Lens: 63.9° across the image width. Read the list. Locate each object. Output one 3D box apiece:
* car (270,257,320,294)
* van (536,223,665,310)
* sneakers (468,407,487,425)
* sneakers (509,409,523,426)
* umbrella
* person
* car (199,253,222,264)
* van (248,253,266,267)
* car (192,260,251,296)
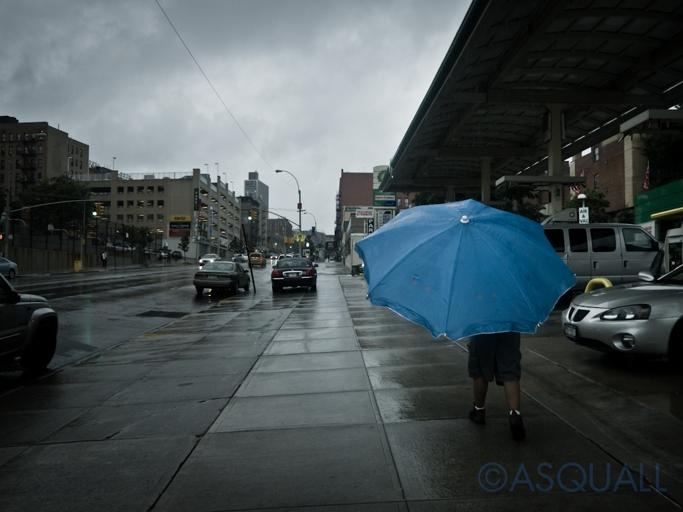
[{"bbox_3d":[-2.078,0.892,24.056,1.251,0.908,2.815,0,5,1],"label":"car"},{"bbox_3d":[7.057,0.275,15.966,4.043,2.280,2.385,-1,-3,-17],"label":"van"},{"bbox_3d":[1.576,1.854,6.328,0.107,0.165,0.256,0,6,3],"label":"sneakers"},{"bbox_3d":[1.891,1.744,5.948,0.123,0.187,0.111,0,5,16],"label":"sneakers"},{"bbox_3d":[1.296,0.102,5.786,2.106,1.361,0.892,-2,5,-2],"label":"umbrella"},{"bbox_3d":[1.709,1.391,6.077,0.634,1.187,0.407,2,6,34],"label":"person"},{"bbox_3d":[-13.414,0.202,55.027,1.240,1.066,3.021,-2,-4,3],"label":"car"},{"bbox_3d":[-8.636,0.432,55.692,1.285,1.112,2.449,0,11,3],"label":"van"},{"bbox_3d":[-5.167,0.948,23.103,1.931,1.433,2.549,-3,6,-10],"label":"car"}]
